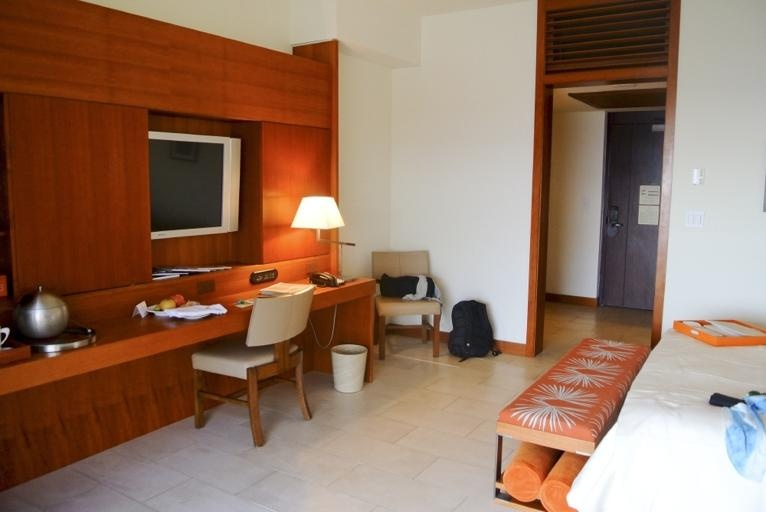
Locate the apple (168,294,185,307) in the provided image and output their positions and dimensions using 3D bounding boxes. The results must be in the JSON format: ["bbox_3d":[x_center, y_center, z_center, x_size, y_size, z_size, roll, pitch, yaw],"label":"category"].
[{"bbox_3d":[-1.421,0.303,3.733,0.078,0.074,0.079,-12,9,33],"label":"apple"}]

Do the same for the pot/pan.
[{"bbox_3d":[-1.949,0.341,3.182,0.325,0.210,0.211,3,-2,-11],"label":"pot/pan"}]

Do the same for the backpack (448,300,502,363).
[{"bbox_3d":[0.936,0.775,5.423,0.515,0.512,0.300,-9,-8,1],"label":"backpack"}]

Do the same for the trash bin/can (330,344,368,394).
[{"bbox_3d":[-0.275,0.963,4.689,0.373,0.346,0.328,-3,6,-19],"label":"trash bin/can"}]

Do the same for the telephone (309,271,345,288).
[{"bbox_3d":[-0.478,0.195,4.510,0.196,0.062,0.145,8,9,32],"label":"telephone"}]

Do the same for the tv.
[{"bbox_3d":[-1.426,-0.535,3.980,0.063,0.594,0.898,3,4,29],"label":"tv"}]
